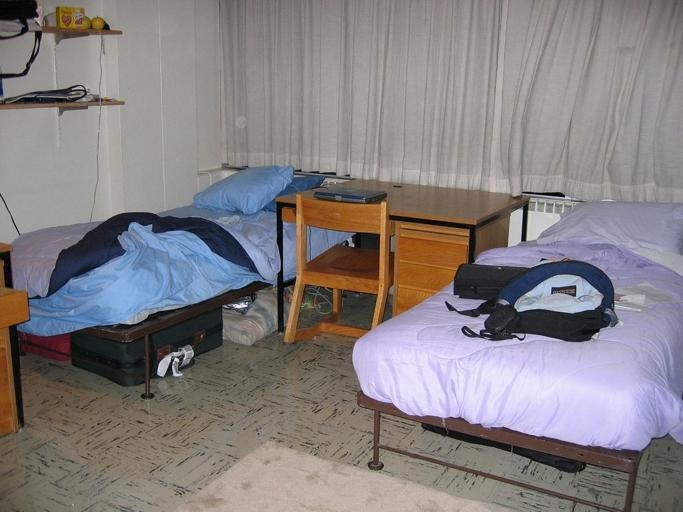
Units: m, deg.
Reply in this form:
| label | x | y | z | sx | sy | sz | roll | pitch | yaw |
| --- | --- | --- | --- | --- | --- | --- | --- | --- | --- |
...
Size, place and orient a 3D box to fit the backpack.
| label | x | y | z | sx | sy | sz | roll | pitch | yaw |
| --- | --- | --- | --- | --- | --- | --- | --- | --- | --- |
| backpack | 0.912 | 0.223 | 2.337 | 0.549 | 0.164 | 0.364 | -16 | 24 | -10 |

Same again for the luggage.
| label | x | y | z | sx | sy | sz | roll | pitch | yaw |
| --- | --- | --- | --- | --- | --- | --- | --- | --- | --- |
| luggage | -1.079 | 0.408 | 3.139 | 0.610 | 0.168 | 0.582 | 5 | 10 | 32 |

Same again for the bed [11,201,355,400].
| label | x | y | z | sx | sy | sz | roll | pitch | yaw |
| --- | --- | --- | --- | --- | --- | --- | --- | --- | --- |
| bed | -0.968 | 0.147 | 3.306 | 0.896 | 0.334 | 1.287 | 14 | 21 | 35 |

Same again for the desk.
| label | x | y | z | sx | sy | sz | roll | pitch | yaw |
| --- | --- | --- | --- | --- | --- | --- | --- | --- | --- |
| desk | 0.484 | -0.072 | 3.792 | 1.331 | 0.865 | 1.322 | 7 | 14 | 30 |
